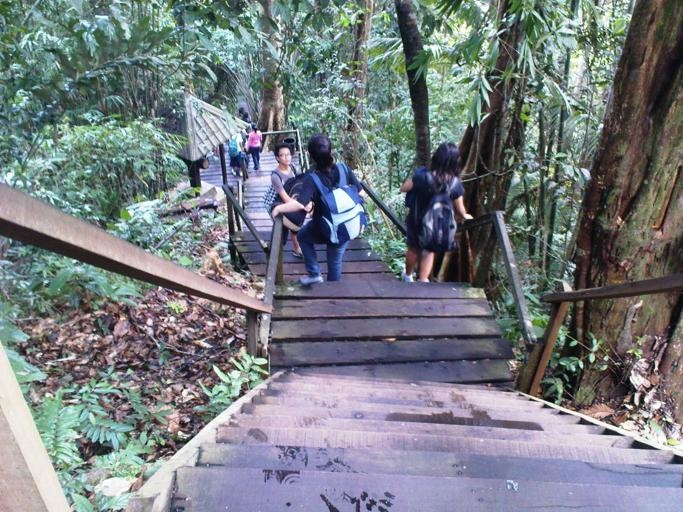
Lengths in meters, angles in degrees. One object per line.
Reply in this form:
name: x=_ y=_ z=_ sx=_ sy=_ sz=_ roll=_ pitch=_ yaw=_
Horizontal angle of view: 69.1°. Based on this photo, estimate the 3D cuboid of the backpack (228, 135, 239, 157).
backpack: x=-2.349 y=-2.447 z=10.705 sx=0.222 sy=0.364 sz=0.383 roll=0 pitch=56 yaw=-5

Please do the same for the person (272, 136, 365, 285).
person: x=-0.206 y=-0.386 z=4.631 sx=0.832 sy=1.500 sz=0.818 roll=1 pitch=35 yaw=-6

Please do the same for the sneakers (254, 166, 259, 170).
sneakers: x=-2.042 y=-2.128 z=11.937 sx=0.115 sy=0.064 sz=0.169 roll=-2 pitch=1 yaw=1

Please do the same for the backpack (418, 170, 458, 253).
backpack: x=0.937 y=-0.481 z=4.669 sx=0.365 sy=0.885 sz=0.343 roll=4 pitch=32 yaw=7

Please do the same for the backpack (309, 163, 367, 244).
backpack: x=-0.030 y=-0.437 z=4.398 sx=0.492 sy=0.714 sz=0.312 roll=-5 pitch=21 yaw=-9

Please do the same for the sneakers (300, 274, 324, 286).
sneakers: x=-0.283 y=0.230 z=4.458 sx=0.245 sy=0.094 sz=0.112 roll=0 pitch=58 yaw=-14

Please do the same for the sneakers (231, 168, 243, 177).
sneakers: x=-2.397 y=-1.897 z=11.401 sx=0.128 sy=0.164 sz=0.387 roll=-4 pitch=-3 yaw=-17

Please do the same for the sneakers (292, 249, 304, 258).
sneakers: x=-0.531 y=-0.033 z=6.056 sx=0.179 sy=0.078 sz=0.068 roll=19 pitch=30 yaw=38
